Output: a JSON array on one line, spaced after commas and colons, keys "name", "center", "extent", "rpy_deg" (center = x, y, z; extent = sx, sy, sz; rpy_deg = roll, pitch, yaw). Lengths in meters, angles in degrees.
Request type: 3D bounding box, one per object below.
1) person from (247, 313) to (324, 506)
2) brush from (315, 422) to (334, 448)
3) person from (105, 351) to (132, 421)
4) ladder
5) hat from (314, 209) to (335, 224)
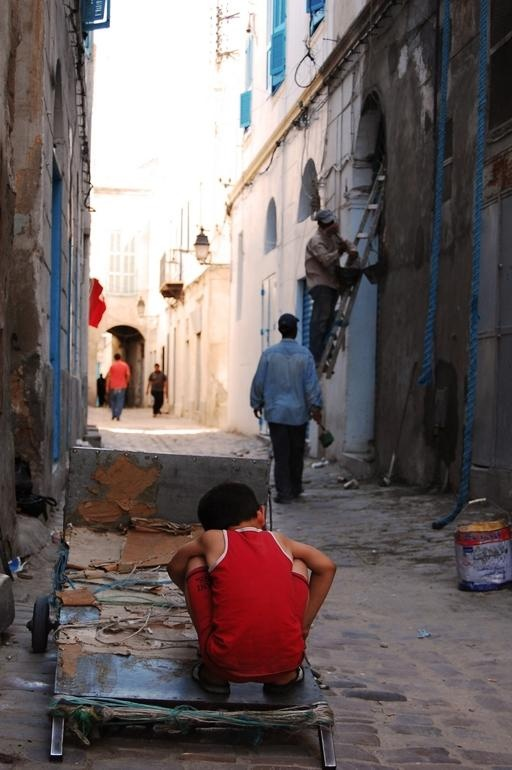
[{"name": "person", "center": [0.233, 0.216, 8.603], "extent": [0.558, 1.566, 0.544], "rpy_deg": [0, 2, 0]}, {"name": "brush", "center": [0.673, 0.535, 10.385], "extent": [0.108, 0.339, 0.129], "rpy_deg": [-24, -11, -4]}, {"name": "person", "center": [-3.105, 0.164, 23.917], "extent": [0.393, 1.584, 0.348], "rpy_deg": [2, -13, -9]}, {"name": "ladder", "center": [0.923, -1.101, 10.322], "extent": [0.638, 2.142, 1.006], "rpy_deg": [0, 2, 4]}, {"name": "hat", "center": [0.651, -1.624, 10.313], "extent": [0.145, 0.108, 0.245], "rpy_deg": [-15, 14, -13]}]
